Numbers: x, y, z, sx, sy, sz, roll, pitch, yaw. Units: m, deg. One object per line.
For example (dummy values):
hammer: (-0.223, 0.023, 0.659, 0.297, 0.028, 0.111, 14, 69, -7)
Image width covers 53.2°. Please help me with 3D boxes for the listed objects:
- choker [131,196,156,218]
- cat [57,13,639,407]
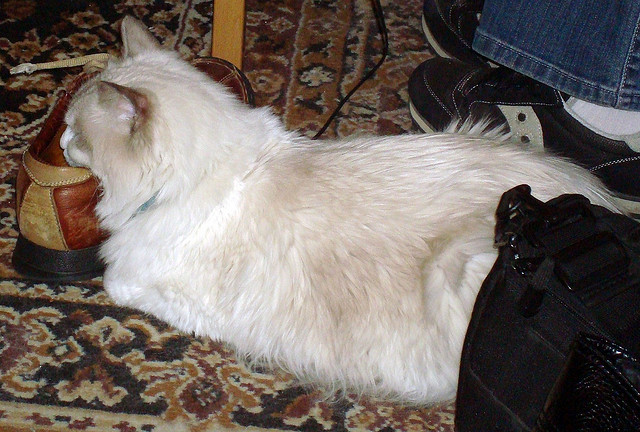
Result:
choker: (-0.456, -0.025, 1.653, 0.025, 0.118, 0.031, 4, 67, -54)
cat: (-0.056, 0.073, 1.753, 1.390, 0.519, 0.906, 4, 54, 1)
